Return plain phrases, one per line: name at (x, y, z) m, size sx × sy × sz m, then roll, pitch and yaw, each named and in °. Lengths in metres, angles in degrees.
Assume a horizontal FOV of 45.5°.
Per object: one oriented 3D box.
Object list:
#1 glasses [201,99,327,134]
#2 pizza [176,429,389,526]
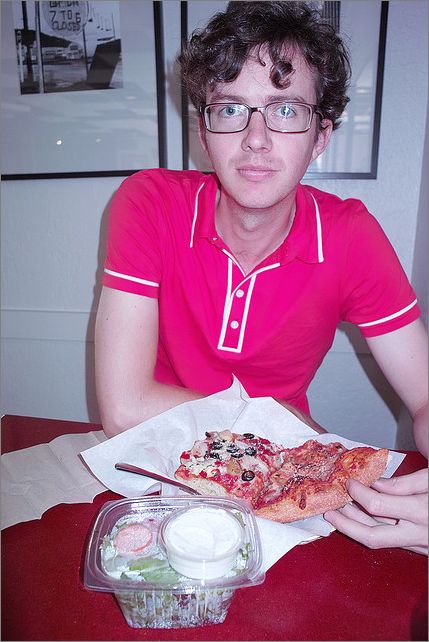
glasses at (0.094, -0.449, 1.123) m, size 0.246 × 0.078 × 0.076 m, roll 4°, pitch 10°, yaw 5°
pizza at (0.103, 0.243, 0.879) m, size 0.230 × 0.040 × 0.162 m, roll 3°, pitch 11°, yaw 31°
